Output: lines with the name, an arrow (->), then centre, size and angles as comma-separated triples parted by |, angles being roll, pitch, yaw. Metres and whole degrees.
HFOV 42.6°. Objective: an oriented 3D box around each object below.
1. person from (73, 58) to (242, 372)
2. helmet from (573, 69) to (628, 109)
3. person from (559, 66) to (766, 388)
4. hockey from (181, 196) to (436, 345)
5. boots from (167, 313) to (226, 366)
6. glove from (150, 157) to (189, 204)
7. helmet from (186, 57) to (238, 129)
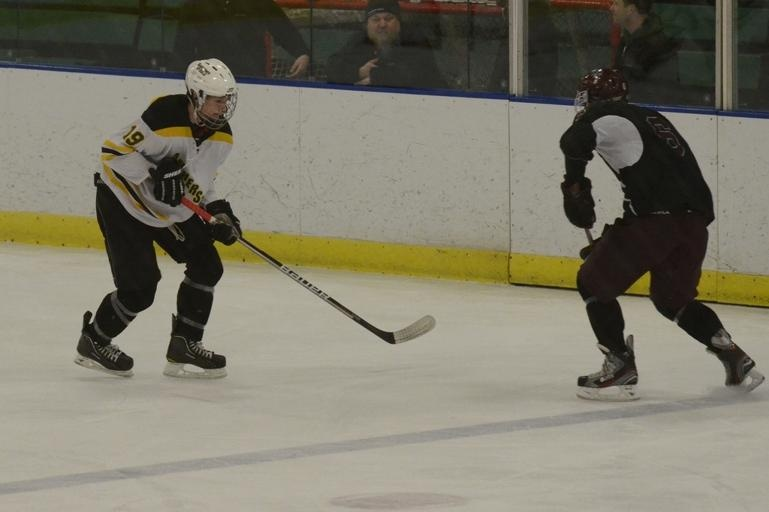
person -> -1.177, -0.178, 5.079 | 0.865, 1.637, 0.342 | -4, 12, -14
helmet -> 1.093, -0.830, 5.030 | 0.280, 0.211, 0.195 | -1, 14, 22
person -> 1.330, -0.117, 4.918 | 0.916, 1.605, 0.508 | 0, 11, 7
hockey -> -0.423, 0.112, 6.366 | 1.600, 0.166, 0.225 | 30, 38, 15
boots -> -1.003, 0.482, 5.219 | 0.368, 0.257, 0.124 | 11, -4, -31
glove -> -1.085, -0.372, 4.954 | 0.168, 0.235, 0.133 | -4, 11, -18
helmet -> -0.871, -0.810, 4.970 | 0.230, 0.346, 0.186 | -4, 11, -16
